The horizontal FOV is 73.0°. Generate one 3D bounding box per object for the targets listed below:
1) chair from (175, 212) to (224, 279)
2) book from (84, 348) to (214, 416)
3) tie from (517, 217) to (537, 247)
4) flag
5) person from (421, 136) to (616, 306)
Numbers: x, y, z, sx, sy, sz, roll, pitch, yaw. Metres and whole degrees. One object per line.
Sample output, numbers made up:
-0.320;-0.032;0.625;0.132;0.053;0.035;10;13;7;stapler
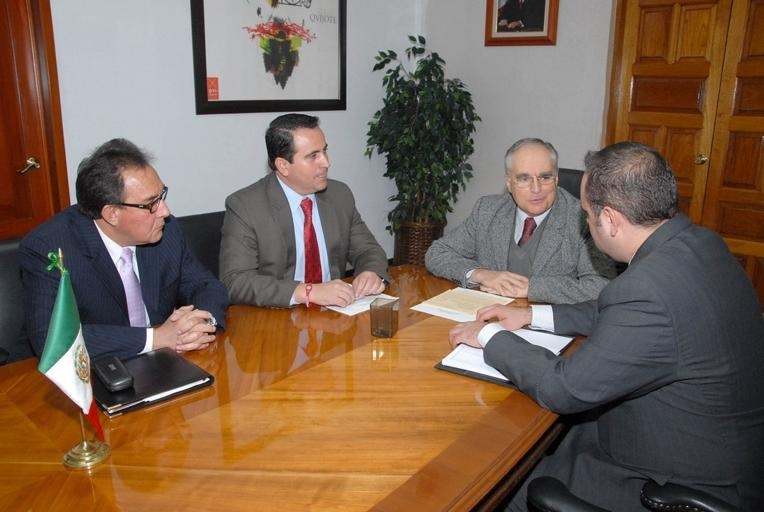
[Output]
-1.022;-0.067;2.973;0.307;0.430;0.318;-8;11;-44;chair
-0.853;0.464;1.878;0.241;0.043;0.251;-5;21;-34;book
0.842;-0.143;3.060;0.049;0.228;0.058;20;4;9;tie
-0.997;0.290;1.615;0.128;0.596;0.278;-12;20;-32;flag
0.825;-0.192;3.039;1.077;0.869;0.650;11;23;31;person
